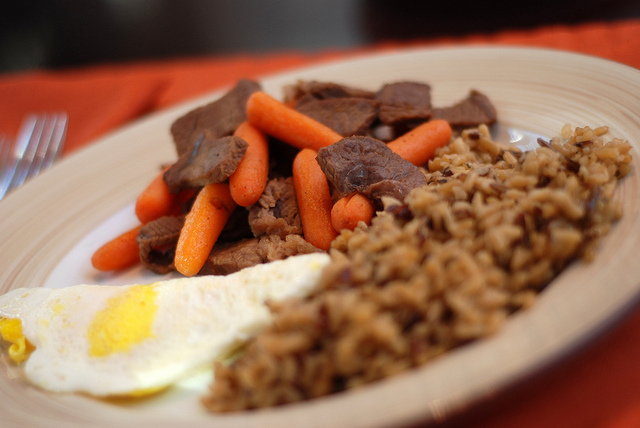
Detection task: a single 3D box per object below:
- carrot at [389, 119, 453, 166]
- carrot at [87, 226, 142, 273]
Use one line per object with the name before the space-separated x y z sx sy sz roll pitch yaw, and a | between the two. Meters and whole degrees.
carrot | 0.494 -0.355 2.804 0.324 0.104 0.157 -37 66 -14
carrot | -0.950 0.192 2.870 0.382 0.184 0.133 -13 96 1
